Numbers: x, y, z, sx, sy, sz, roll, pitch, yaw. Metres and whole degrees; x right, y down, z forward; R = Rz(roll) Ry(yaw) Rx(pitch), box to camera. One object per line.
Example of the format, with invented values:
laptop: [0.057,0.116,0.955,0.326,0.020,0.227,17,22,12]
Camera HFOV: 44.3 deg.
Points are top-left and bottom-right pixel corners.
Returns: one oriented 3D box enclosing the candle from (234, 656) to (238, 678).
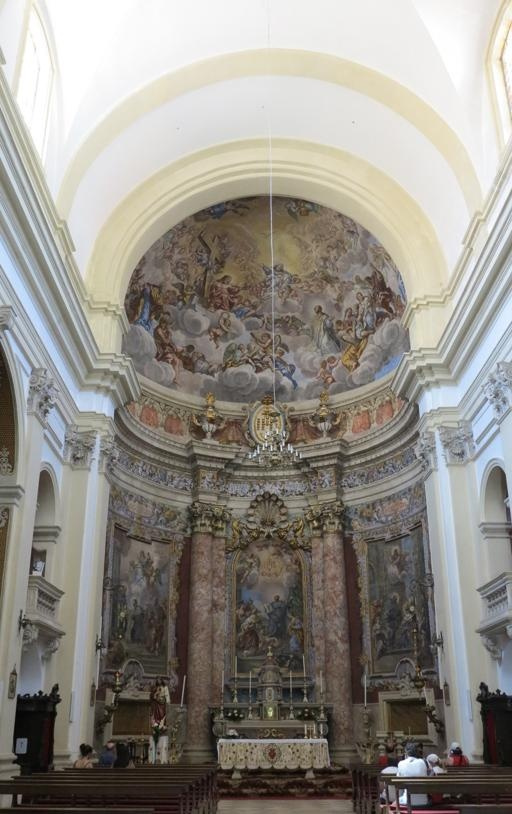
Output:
candle: [-0.466,5.985,14.434,0.108,0.424,0.038,15,-27,-33]

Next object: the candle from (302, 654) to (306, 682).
candle: [1.090,5.952,14.332,0.078,0.507,0.147,9,-24,-23]

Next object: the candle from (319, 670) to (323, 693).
candle: [1.443,6.045,13.842,0.093,0.454,0.171,-3,-22,5]
